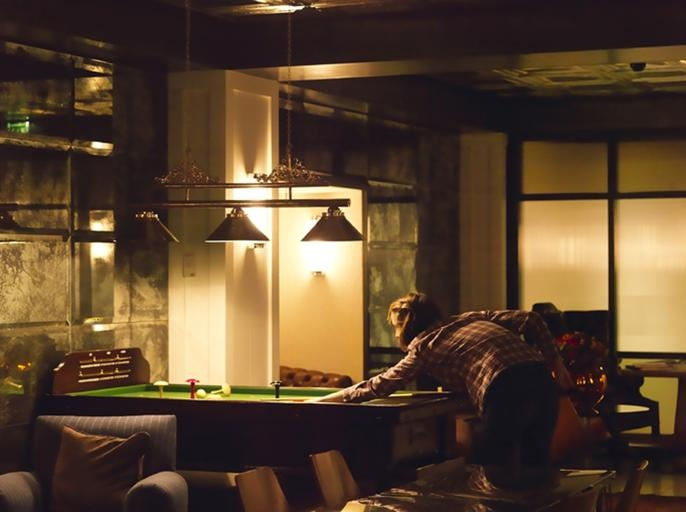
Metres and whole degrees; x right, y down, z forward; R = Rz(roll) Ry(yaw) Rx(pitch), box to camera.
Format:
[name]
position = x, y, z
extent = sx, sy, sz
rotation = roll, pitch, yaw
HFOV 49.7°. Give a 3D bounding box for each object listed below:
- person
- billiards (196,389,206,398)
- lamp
[person]
position = 0.878, 0.894, 5.492
extent = 1.365, 1.207, 0.449
rotation = 0, 0, 22
[billiards]
position = -1.157, 1.125, 6.035
extent = 0.057, 0.063, 0.060
rotation = 15, -9, -11
[lamp]
position = -1.013, -1.310, 7.051
extent = 2.039, 2.411, 0.527
rotation = -1, -8, 3
